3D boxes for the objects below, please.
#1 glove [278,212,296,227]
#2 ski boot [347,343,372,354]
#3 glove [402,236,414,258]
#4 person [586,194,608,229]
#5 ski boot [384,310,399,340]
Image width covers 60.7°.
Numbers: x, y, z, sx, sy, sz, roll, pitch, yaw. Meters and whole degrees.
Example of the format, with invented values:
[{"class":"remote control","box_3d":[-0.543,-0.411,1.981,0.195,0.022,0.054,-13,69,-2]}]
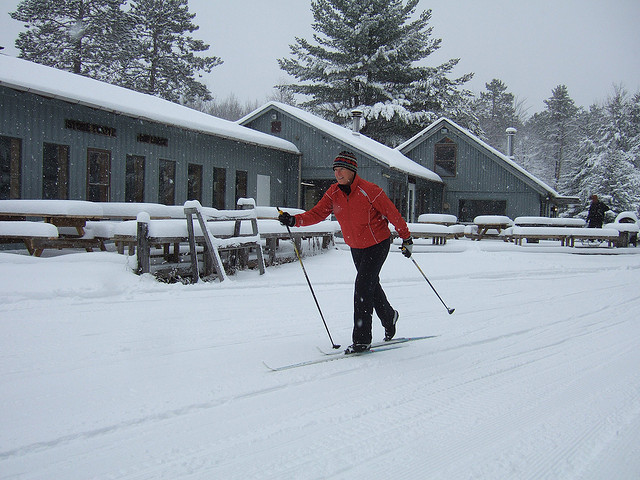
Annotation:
[{"class":"glove","box_3d":[-0.352,-0.213,5.953,0.172,0.136,0.152,4,-14,-32]},{"class":"ski boot","box_3d":[0.405,1.113,5.613,0.167,0.068,0.106,-4,-3,-17]},{"class":"glove","box_3d":[0.956,0.075,5.957,0.130,0.204,0.088,11,0,22]},{"class":"person","box_3d":[8.853,-0.710,17.609,0.656,1.561,0.456,1,-13,17]},{"class":"ski boot","box_3d":[0.799,0.947,6.070,0.100,0.339,0.130,9,3,36]}]
